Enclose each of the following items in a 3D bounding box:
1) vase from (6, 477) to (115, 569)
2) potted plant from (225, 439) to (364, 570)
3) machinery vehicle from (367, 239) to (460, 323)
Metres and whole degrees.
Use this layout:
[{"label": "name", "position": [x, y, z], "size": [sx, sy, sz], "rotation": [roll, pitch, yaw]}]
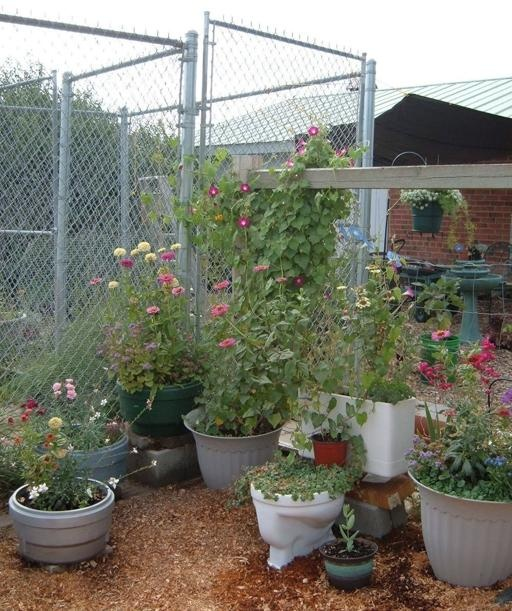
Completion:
[{"label": "vase", "position": [-0.706, 0.792, 2.194], "size": [0.327, 0.178, 0.310], "rotation": [0, 1, -3]}, {"label": "potted plant", "position": [0.179, 0.734, 2.371], "size": [0.489, 0.298, 0.396], "rotation": [-8, 12, -40]}, {"label": "machinery vehicle", "position": [1.791, -0.299, 7.060], "size": [1.134, 0.861, 0.704], "rotation": [19, 5, 25]}]
